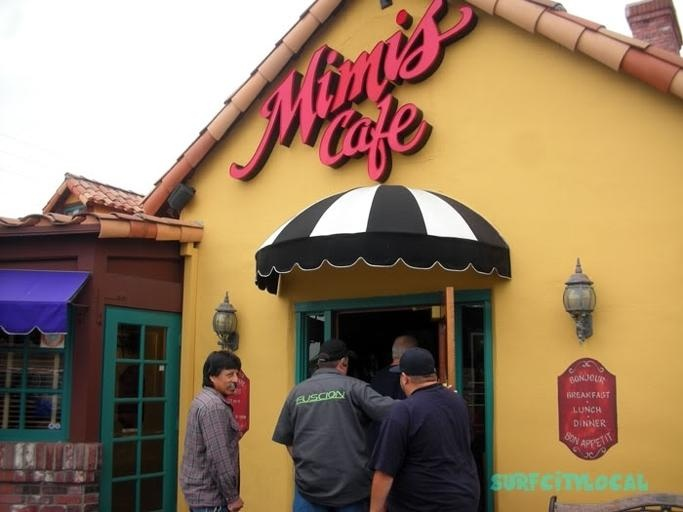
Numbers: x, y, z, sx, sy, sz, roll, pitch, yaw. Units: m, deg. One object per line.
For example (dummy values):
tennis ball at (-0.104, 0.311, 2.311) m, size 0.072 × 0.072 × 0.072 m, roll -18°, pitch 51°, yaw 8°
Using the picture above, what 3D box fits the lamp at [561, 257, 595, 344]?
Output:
lamp at (2.974, 0.513, 8.941) m, size 0.375 × 1.042 × 0.291 m, roll 8°, pitch -17°, yaw -30°

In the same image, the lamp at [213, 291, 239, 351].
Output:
lamp at (-1.799, 1.005, 11.092) m, size 0.391 × 0.890 × 0.394 m, roll -2°, pitch -15°, yaw 7°
